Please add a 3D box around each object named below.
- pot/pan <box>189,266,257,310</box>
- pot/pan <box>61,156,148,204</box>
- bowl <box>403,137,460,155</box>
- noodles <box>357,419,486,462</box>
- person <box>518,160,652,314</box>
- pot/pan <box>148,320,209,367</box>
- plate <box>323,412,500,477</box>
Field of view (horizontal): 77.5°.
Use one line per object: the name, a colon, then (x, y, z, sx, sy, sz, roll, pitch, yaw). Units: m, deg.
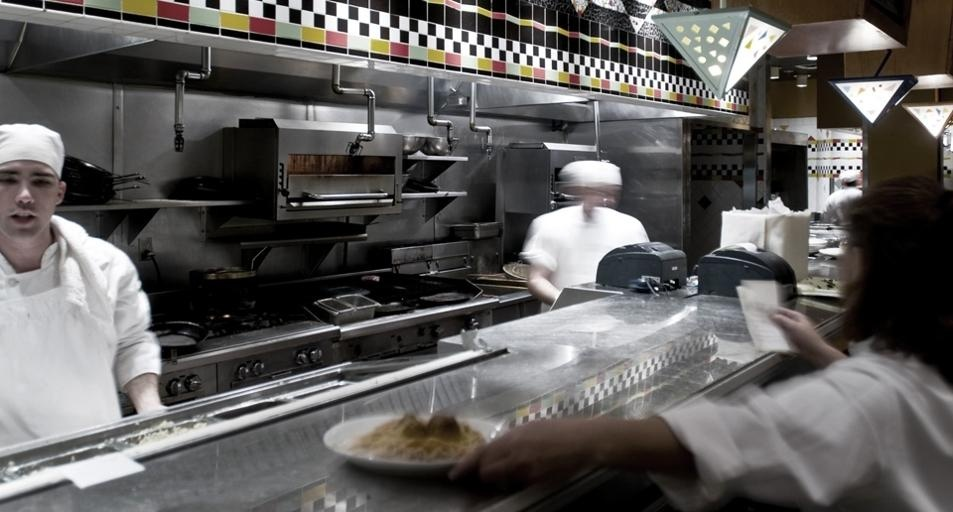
pot/pan: (-1.826, 0.213, 4.394, 0.399, 0.339, 0.304, 1, 0, 13)
pot/pan: (-2.320, -0.437, 4.077, 0.412, 0.384, 0.796, 3, 2, -40)
bowl: (-0.414, -1.010, 5.465, 0.144, 0.181, 0.588, 5, 12, 35)
noodles: (-0.187, 0.599, 1.970, 0.431, 0.085, 0.205, -1, 10, 4)
person: (0.656, -0.179, 4.877, 0.792, 1.368, 1.223, 0, 2, 35)
pot/pan: (-1.902, 0.560, 3.811, 0.252, 0.223, 0.315, 1, 1, 14)
plate: (-0.187, 0.579, 2.040, 0.505, 0.146, 0.363, 4, 5, 45)
